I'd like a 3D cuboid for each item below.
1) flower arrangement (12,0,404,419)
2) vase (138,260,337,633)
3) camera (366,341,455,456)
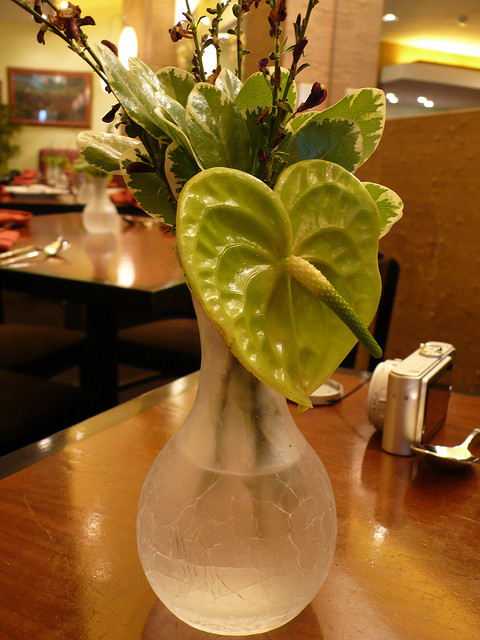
[{"bbox_3d":[-0.025,-0.073,0.317,0.226,0.224,0.157,6,15,15],"label":"flower arrangement"},{"bbox_3d":[-0.003,0.085,0.325,0.124,0.189,0.080,5,15,10],"label":"vase"},{"bbox_3d":[0.201,0.088,0.653,0.079,0.098,0.149,10,15,35],"label":"camera"}]
